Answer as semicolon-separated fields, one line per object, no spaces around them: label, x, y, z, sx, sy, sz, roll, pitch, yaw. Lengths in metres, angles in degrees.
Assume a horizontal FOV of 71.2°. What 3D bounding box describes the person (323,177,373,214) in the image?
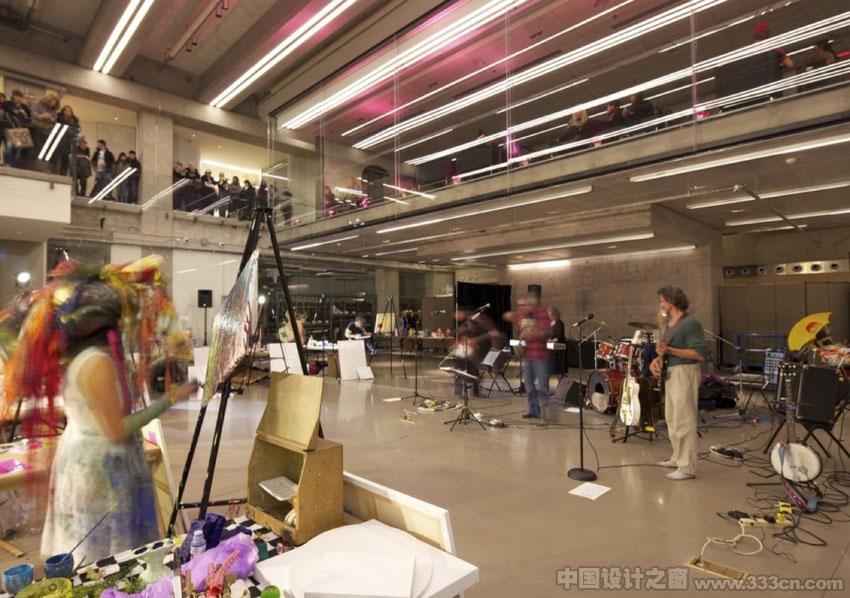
person;-1.765;-2.440;13.587;0.684;0.663;1.139;-4;7;-38

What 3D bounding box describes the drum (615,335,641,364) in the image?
drum;2.788;0.679;8.201;0.454;0.409;0.348;7;-7;-31

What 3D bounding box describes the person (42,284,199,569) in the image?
person;-2.289;1.042;4.456;1.078;2.373;0.905;-1;12;-30

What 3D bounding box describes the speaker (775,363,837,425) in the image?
speaker;4.071;1.029;6.284;0.555;0.655;0.487;6;14;29

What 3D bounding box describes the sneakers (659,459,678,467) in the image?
sneakers;2.869;1.924;6.959;0.187;0.073;0.090;3;-8;2

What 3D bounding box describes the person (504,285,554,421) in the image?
person;1.658;0.847;9.059;0.545;2.079;0.821;1;13;10

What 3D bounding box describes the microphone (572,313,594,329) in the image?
microphone;3.582;0.443;13.273;0.524;0.165;0.161;-35;16;24

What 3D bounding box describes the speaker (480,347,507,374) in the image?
speaker;1.210;1.014;9.605;0.370;0.377;0.138;3;-36;46

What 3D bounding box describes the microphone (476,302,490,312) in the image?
microphone;1.087;0.096;11.152;0.111;0.083;0.336;-5;-15;-35

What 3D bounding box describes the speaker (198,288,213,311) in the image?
speaker;-4.960;-0.057;13.373;0.370;0.513;0.357;2;-5;-39

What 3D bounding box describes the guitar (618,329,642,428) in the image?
guitar;2.775;1.117;7.917;0.283;1.510;0.883;4;13;21

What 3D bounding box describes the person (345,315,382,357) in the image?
person;-1.561;0.871;15.358;0.904;1.004;0.597;5;11;28

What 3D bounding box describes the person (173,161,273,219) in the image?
person;-5.122;-2.618;14.883;2.189;1.092;0.746;-5;13;-19

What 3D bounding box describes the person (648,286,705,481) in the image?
person;2.857;0.949;6.691;0.585;2.149;0.629;-4;13;-15

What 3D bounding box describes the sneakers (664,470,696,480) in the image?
sneakers;2.868;1.978;6.650;0.225;0.087;0.143;2;-5;1
